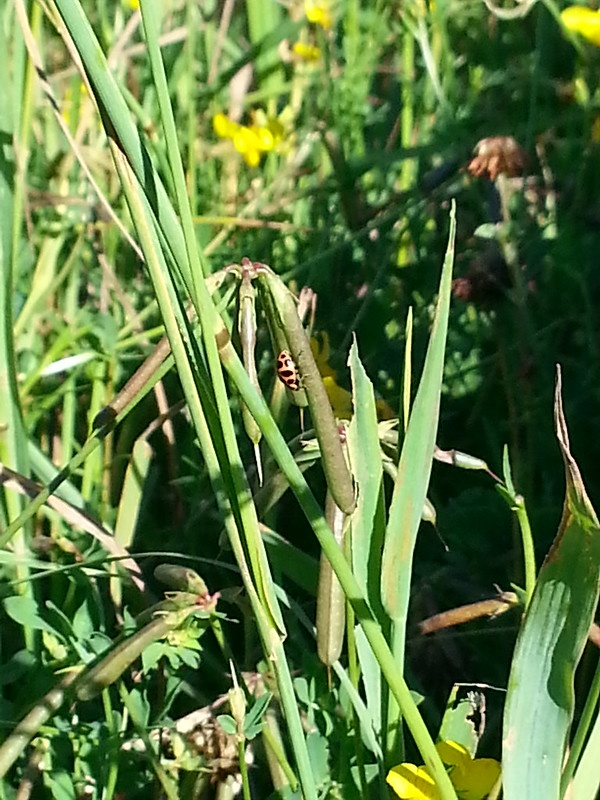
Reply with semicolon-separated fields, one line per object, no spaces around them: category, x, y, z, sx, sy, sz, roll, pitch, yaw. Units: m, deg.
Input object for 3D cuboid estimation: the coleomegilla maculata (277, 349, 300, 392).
coleomegilla maculata;-0.007;-0.016;0.497;0.007;0.021;0.016;-24;58;0
